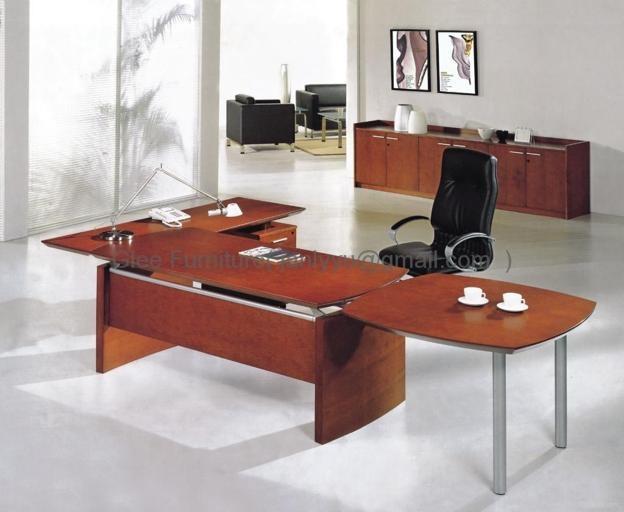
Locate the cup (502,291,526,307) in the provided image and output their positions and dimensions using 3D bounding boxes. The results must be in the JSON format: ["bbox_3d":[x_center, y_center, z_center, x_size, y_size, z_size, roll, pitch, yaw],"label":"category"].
[{"bbox_3d":[0.896,0.189,2.525,0.086,0.048,0.069,1,6,31],"label":"cup"}]

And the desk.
[{"bbox_3d":[-0.072,0.384,3.136,2.814,0.931,1.011,6,11,33],"label":"desk"}]

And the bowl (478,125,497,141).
[{"bbox_3d":[2.304,-1.624,7.399,0.245,0.134,0.226,-2,14,1],"label":"bowl"}]

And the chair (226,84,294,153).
[{"bbox_3d":[-0.918,-2.811,11.314,1.379,1.082,1.302,-6,16,-23],"label":"chair"}]

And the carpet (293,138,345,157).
[{"bbox_3d":[0.150,-2.251,11.534,1.020,0.421,1.706,0,9,-1],"label":"carpet"}]

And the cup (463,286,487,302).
[{"bbox_3d":[0.742,0.173,2.606,0.074,0.040,0.084,0,-1,6],"label":"cup"}]
